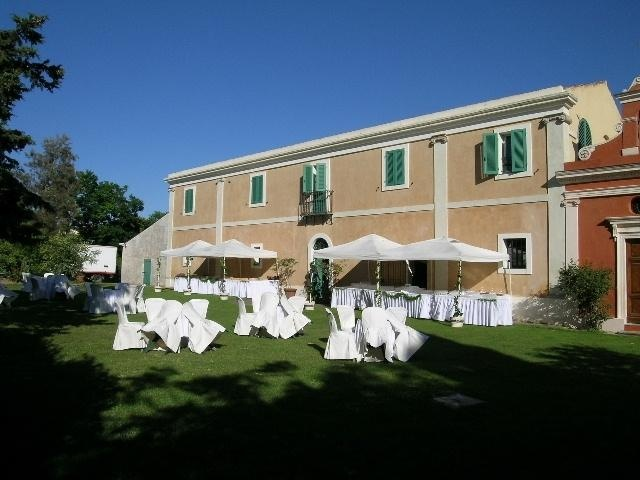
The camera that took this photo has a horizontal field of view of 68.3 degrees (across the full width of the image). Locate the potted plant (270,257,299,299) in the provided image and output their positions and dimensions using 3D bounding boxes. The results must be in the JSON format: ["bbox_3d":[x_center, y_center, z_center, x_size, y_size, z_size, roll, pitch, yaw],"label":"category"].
[{"bbox_3d":[-1.457,1.488,19.353,1.252,1.779,1.147,2,4,22],"label":"potted plant"}]
